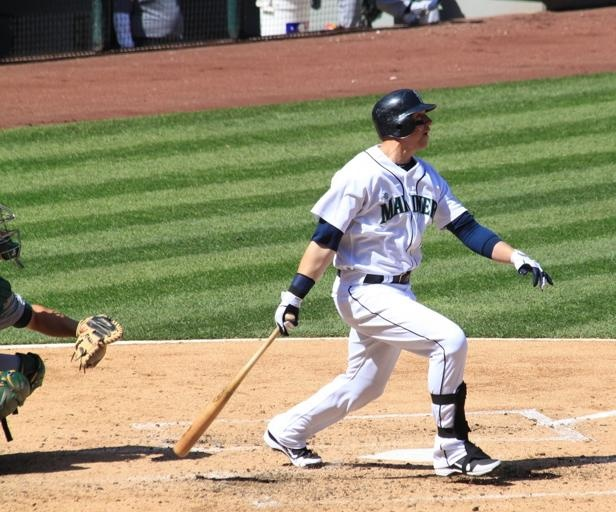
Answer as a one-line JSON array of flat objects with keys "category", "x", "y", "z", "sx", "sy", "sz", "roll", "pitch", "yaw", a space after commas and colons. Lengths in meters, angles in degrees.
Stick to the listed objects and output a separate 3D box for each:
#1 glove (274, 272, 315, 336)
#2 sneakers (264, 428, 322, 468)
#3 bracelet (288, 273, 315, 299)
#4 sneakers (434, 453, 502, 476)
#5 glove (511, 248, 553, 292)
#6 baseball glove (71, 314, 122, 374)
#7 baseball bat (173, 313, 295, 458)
[{"category": "glove", "x": -0.096, "y": 0.438, "z": 11.140, "sx": 0.366, "sy": 0.466, "sz": 0.547, "roll": -12, "pitch": 26, "yaw": -18}, {"category": "sneakers", "x": -0.066, "y": 1.560, "z": 10.331, "sx": 0.567, "sy": 0.232, "sz": 0.203, "roll": 25, "pitch": 15, "yaw": 3}, {"category": "bracelet", "x": -0.041, "y": 0.232, "z": 9.996, "sx": 0.202, "sy": 0.200, "sz": 0.103, "roll": 3, "pitch": 12, "yaw": 17}, {"category": "sneakers", "x": 1.257, "y": 1.594, "z": 10.049, "sx": 0.467, "sy": 0.186, "sz": 0.191, "roll": -8, "pitch": -3, "yaw": 14}, {"category": "glove", "x": 1.801, "y": 0.160, "z": 10.195, "sx": 0.312, "sy": 0.382, "sz": 0.323, "roll": -3, "pitch": 21, "yaw": -9}, {"category": "baseball glove", "x": -1.666, "y": 0.684, "z": 10.347, "sx": 0.342, "sy": 0.451, "sz": 0.204, "roll": 26, "pitch": -22, "yaw": 20}, {"category": "baseball bat", "x": -0.623, "y": 1.164, "z": 11.177, "sx": 0.143, "sy": 1.428, "sz": 0.182, "roll": 37, "pitch": -10, "yaw": 37}]
